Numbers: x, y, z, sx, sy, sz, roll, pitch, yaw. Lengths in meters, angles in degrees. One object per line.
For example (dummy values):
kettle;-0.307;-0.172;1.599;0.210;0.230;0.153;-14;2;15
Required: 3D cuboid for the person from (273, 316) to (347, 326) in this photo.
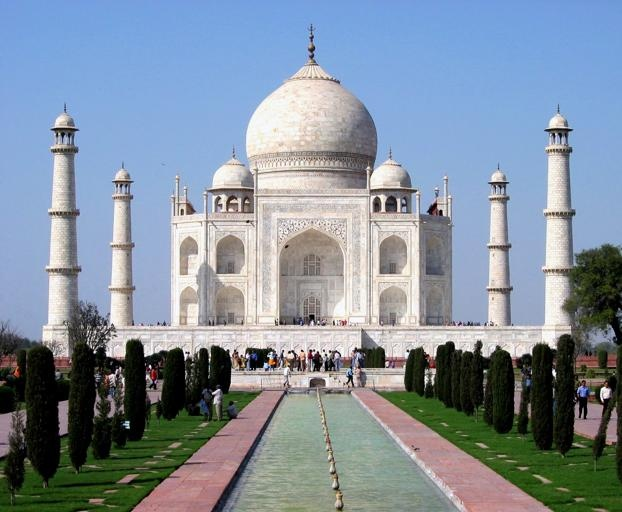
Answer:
person;0.009;2.609;46.958;2.063;0.317;0.162;-2;2;2
